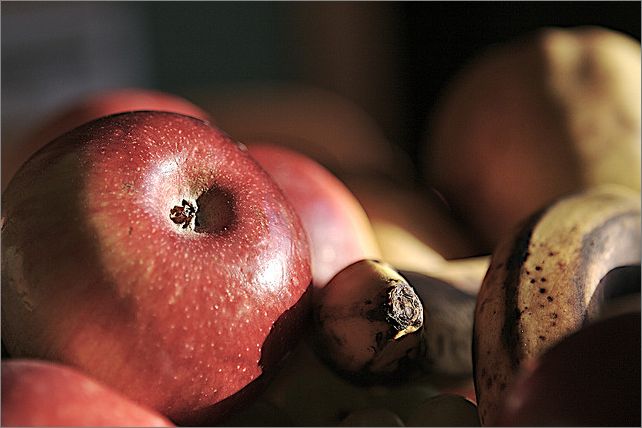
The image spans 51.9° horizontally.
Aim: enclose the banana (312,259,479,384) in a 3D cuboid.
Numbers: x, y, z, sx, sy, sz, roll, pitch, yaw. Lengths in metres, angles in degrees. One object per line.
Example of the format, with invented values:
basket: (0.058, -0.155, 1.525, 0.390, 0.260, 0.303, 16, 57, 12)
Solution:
banana: (0.093, 0.129, 0.744, 0.093, 0.200, 0.123, 0, 80, 32)
